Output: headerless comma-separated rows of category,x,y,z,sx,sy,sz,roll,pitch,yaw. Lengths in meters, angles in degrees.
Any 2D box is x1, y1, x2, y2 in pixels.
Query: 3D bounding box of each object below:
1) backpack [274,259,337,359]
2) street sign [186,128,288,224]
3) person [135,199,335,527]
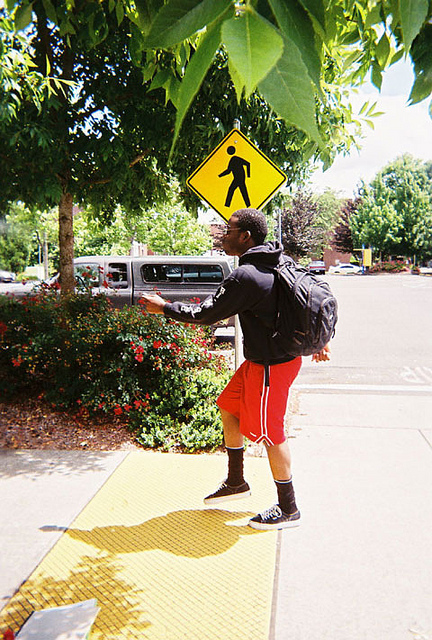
backpack,0.551,-0.058,2.980,0.301,0.554,0.392,5,18,25
street sign,0.172,-1.215,4.081,0.772,0.635,0.135,1,4,12
person,0.246,0.405,3.105,0.951,1.777,0.488,1,4,13
